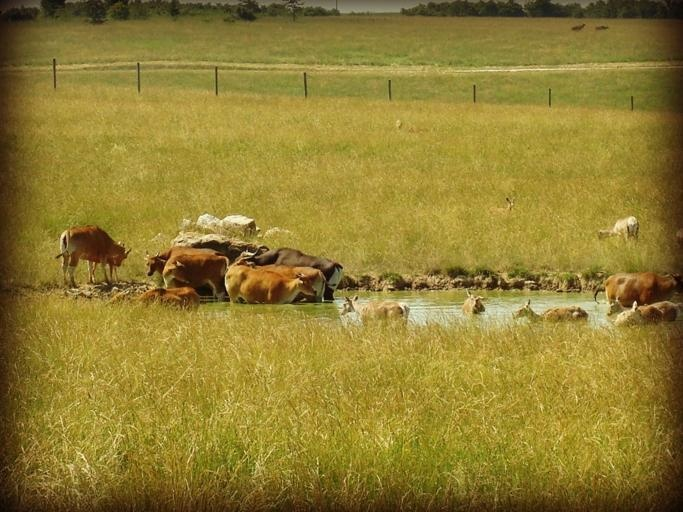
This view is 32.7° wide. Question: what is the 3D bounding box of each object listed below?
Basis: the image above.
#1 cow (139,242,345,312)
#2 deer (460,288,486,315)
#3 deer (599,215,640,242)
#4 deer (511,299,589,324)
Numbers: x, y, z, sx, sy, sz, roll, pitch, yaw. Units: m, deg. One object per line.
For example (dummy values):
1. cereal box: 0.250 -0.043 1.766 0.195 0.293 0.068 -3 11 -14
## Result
1. cow: -3.322 0.370 42.614 6.741 1.811 3.160 2 15 5
2. deer: 4.405 1.547 38.610 0.729 0.669 0.841 2 15 8
3. deer: 11.741 -1.206 49.941 2.336 1.425 0.745 -2 -3 42
4. deer: 6.853 1.745 37.766 2.352 0.679 1.279 3 16 10
